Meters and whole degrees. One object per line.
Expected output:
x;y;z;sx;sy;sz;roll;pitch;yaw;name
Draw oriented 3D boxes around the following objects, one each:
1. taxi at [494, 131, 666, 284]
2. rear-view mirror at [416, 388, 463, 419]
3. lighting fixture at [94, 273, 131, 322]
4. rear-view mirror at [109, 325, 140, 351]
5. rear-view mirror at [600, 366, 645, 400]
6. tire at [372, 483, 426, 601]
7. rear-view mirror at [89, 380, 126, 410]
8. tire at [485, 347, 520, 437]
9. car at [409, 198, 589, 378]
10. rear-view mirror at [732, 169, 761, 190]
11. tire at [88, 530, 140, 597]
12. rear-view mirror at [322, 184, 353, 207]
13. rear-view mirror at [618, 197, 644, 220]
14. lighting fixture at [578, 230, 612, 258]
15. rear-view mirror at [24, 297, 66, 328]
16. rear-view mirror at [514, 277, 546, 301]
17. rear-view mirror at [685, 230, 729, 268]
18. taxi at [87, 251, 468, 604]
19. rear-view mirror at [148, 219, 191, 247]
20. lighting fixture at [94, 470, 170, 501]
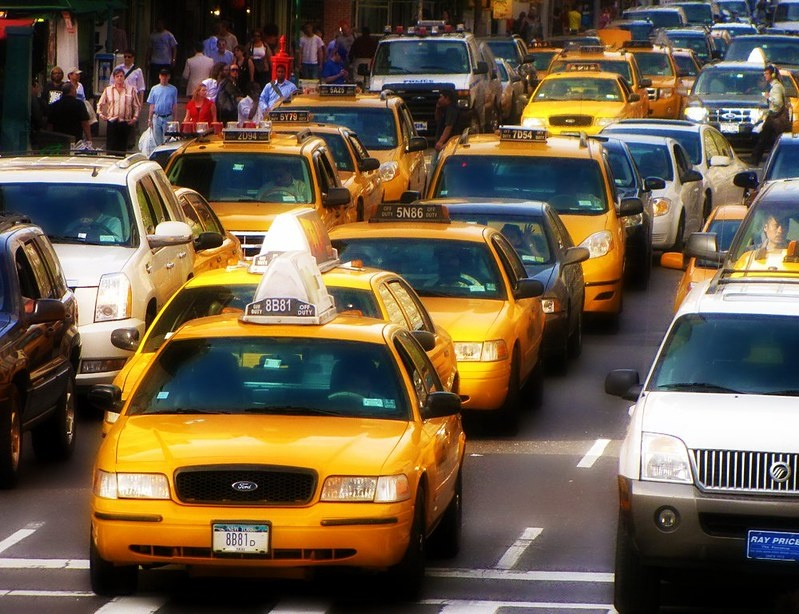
2.522;-1.385;15.659;2.270;2.064;4.267;0;6;7;taxi
0.238;0.611;6.927;0.317;0.154;0.305;0;19;4;rear-view mirror
-2.960;-0.074;11.264;0.407;0.582;0.309;2;-12;-2;lighting fixture
-2.364;0.289;9.391;0.223;0.167;0.362;1;4;-7;rear-view mirror
1.513;0.532;7.380;0.152;0.199;0.308;-1;-5;-41;rear-view mirror
-0.003;1.273;6.081;0.250;0.668;0.665;2;7;8;tire
-1.939;0.612;7.262;0.210;0.191;0.202;4;48;8;rear-view mirror
1.011;0.821;10.602;0.309;0.867;0.456;1;6;5;tire
1.348;-0.563;14.042;1.618;1.512;3.674;4;15;5;car
5.664;-2.038;17.935;0.336;0.280;0.781;3;7;21;rear-view mirror
-1.600;1.430;6.158;0.185;0.497;0.492;2;3;-2;tire
-0.923;-1.598;16.031;0.391;0.279;0.293;-2;8;-1;rear-view mirror
3.359;-1.430;15.987;0.336;0.249;0.354;1;7;11;rear-view mirror
2.728;-0.883;15.301;0.350;0.269;0.582;-2;17;27;lighting fixture
-2.983;0.050;9.244;0.323;0.236;0.345;-2;7;-19;rear-view mirror
1.285;-0.166;11.057;0.287;0.219;0.292;2;7;13;rear-view mirror
3.291;-0.593;11.851;0.351;0.239;0.557;3;-10;17;rear-view mirror
-0.767;0.730;6.946;1.506;1.257;2.587;0;0;2;taxi
-2.538;-0.806;12.162;0.429;0.200;0.248;-7;5;-42;rear-view mirror
-1.469;0.972;6.000;0.261;0.094;0.202;0;-5;3;lighting fixture
